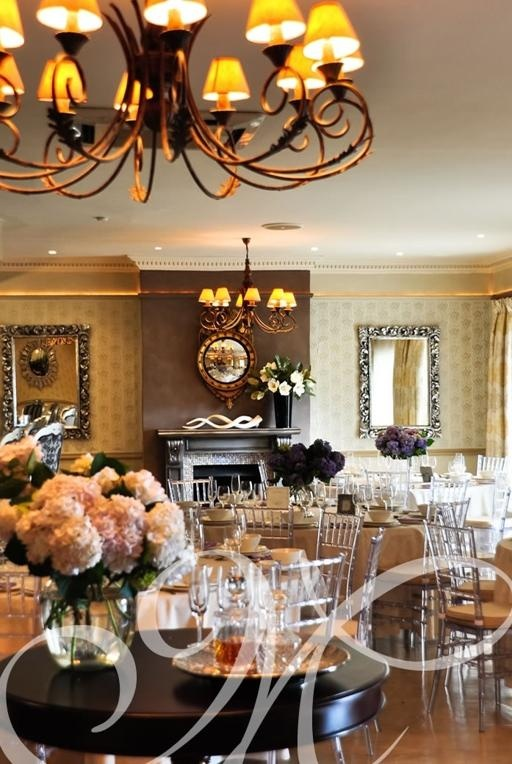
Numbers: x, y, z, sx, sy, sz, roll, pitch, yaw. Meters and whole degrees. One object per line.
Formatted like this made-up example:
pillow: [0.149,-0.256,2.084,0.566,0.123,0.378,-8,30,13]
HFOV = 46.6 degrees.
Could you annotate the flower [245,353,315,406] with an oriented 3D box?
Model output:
flower: [0.339,-0.033,8.000,0.652,0.445,0.719,0,0,-5]

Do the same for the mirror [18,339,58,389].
mirror: [-3.198,-0.275,8.709,0.720,0.934,0.080,1,0,-10]

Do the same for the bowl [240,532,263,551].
bowl: [-0.026,0.882,3.316,0.165,0.114,0.164,0,-7,0]

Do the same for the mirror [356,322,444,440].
mirror: [2.129,-0.032,9.019,1.850,2.375,0.205,0,1,-5]

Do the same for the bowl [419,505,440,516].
bowl: [1.281,0.946,4.445,0.139,0.066,0.141,2,-7,0]

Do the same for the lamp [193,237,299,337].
lamp: [-0.125,-1.240,7.081,1.362,1.229,1.193,0,-4,-2]
